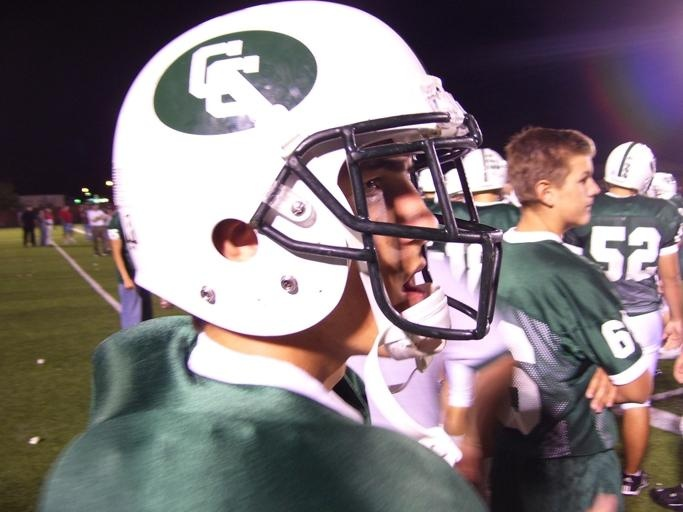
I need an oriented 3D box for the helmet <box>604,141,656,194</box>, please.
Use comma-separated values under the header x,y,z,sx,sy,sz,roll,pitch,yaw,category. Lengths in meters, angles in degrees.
x,y,z,sx,sy,sz,roll,pitch,yaw,category
2.503,-0.792,5.062,0.534,0.436,0.380,1,22,7,helmet
